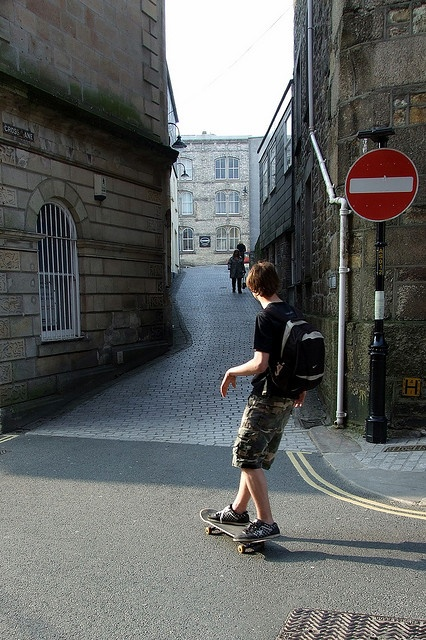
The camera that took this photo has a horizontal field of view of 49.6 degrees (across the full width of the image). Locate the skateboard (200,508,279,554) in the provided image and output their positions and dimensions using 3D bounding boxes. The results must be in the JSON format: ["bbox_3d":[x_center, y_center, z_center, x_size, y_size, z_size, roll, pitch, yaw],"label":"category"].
[{"bbox_3d":[0.126,1.301,2.840,0.175,0.127,0.698,-2,-1,-27],"label":"skateboard"}]

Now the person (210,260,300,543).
[{"bbox_3d":[0.269,0.503,2.760,0.553,1.695,0.593,-1,-3,0],"label":"person"}]

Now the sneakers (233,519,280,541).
[{"bbox_3d":[0.261,1.244,2.745,0.292,0.137,0.111,0,-6,-6],"label":"sneakers"}]

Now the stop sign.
[{"bbox_3d":[1.842,-1.426,4.921,0.836,0.971,0.084,-7,1,19],"label":"stop sign"}]

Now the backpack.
[{"bbox_3d":[0.465,0.200,2.598,0.295,0.467,0.253,-10,16,-33],"label":"backpack"}]

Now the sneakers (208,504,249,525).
[{"bbox_3d":[0.103,1.245,2.951,0.271,0.124,0.098,7,2,20],"label":"sneakers"}]
